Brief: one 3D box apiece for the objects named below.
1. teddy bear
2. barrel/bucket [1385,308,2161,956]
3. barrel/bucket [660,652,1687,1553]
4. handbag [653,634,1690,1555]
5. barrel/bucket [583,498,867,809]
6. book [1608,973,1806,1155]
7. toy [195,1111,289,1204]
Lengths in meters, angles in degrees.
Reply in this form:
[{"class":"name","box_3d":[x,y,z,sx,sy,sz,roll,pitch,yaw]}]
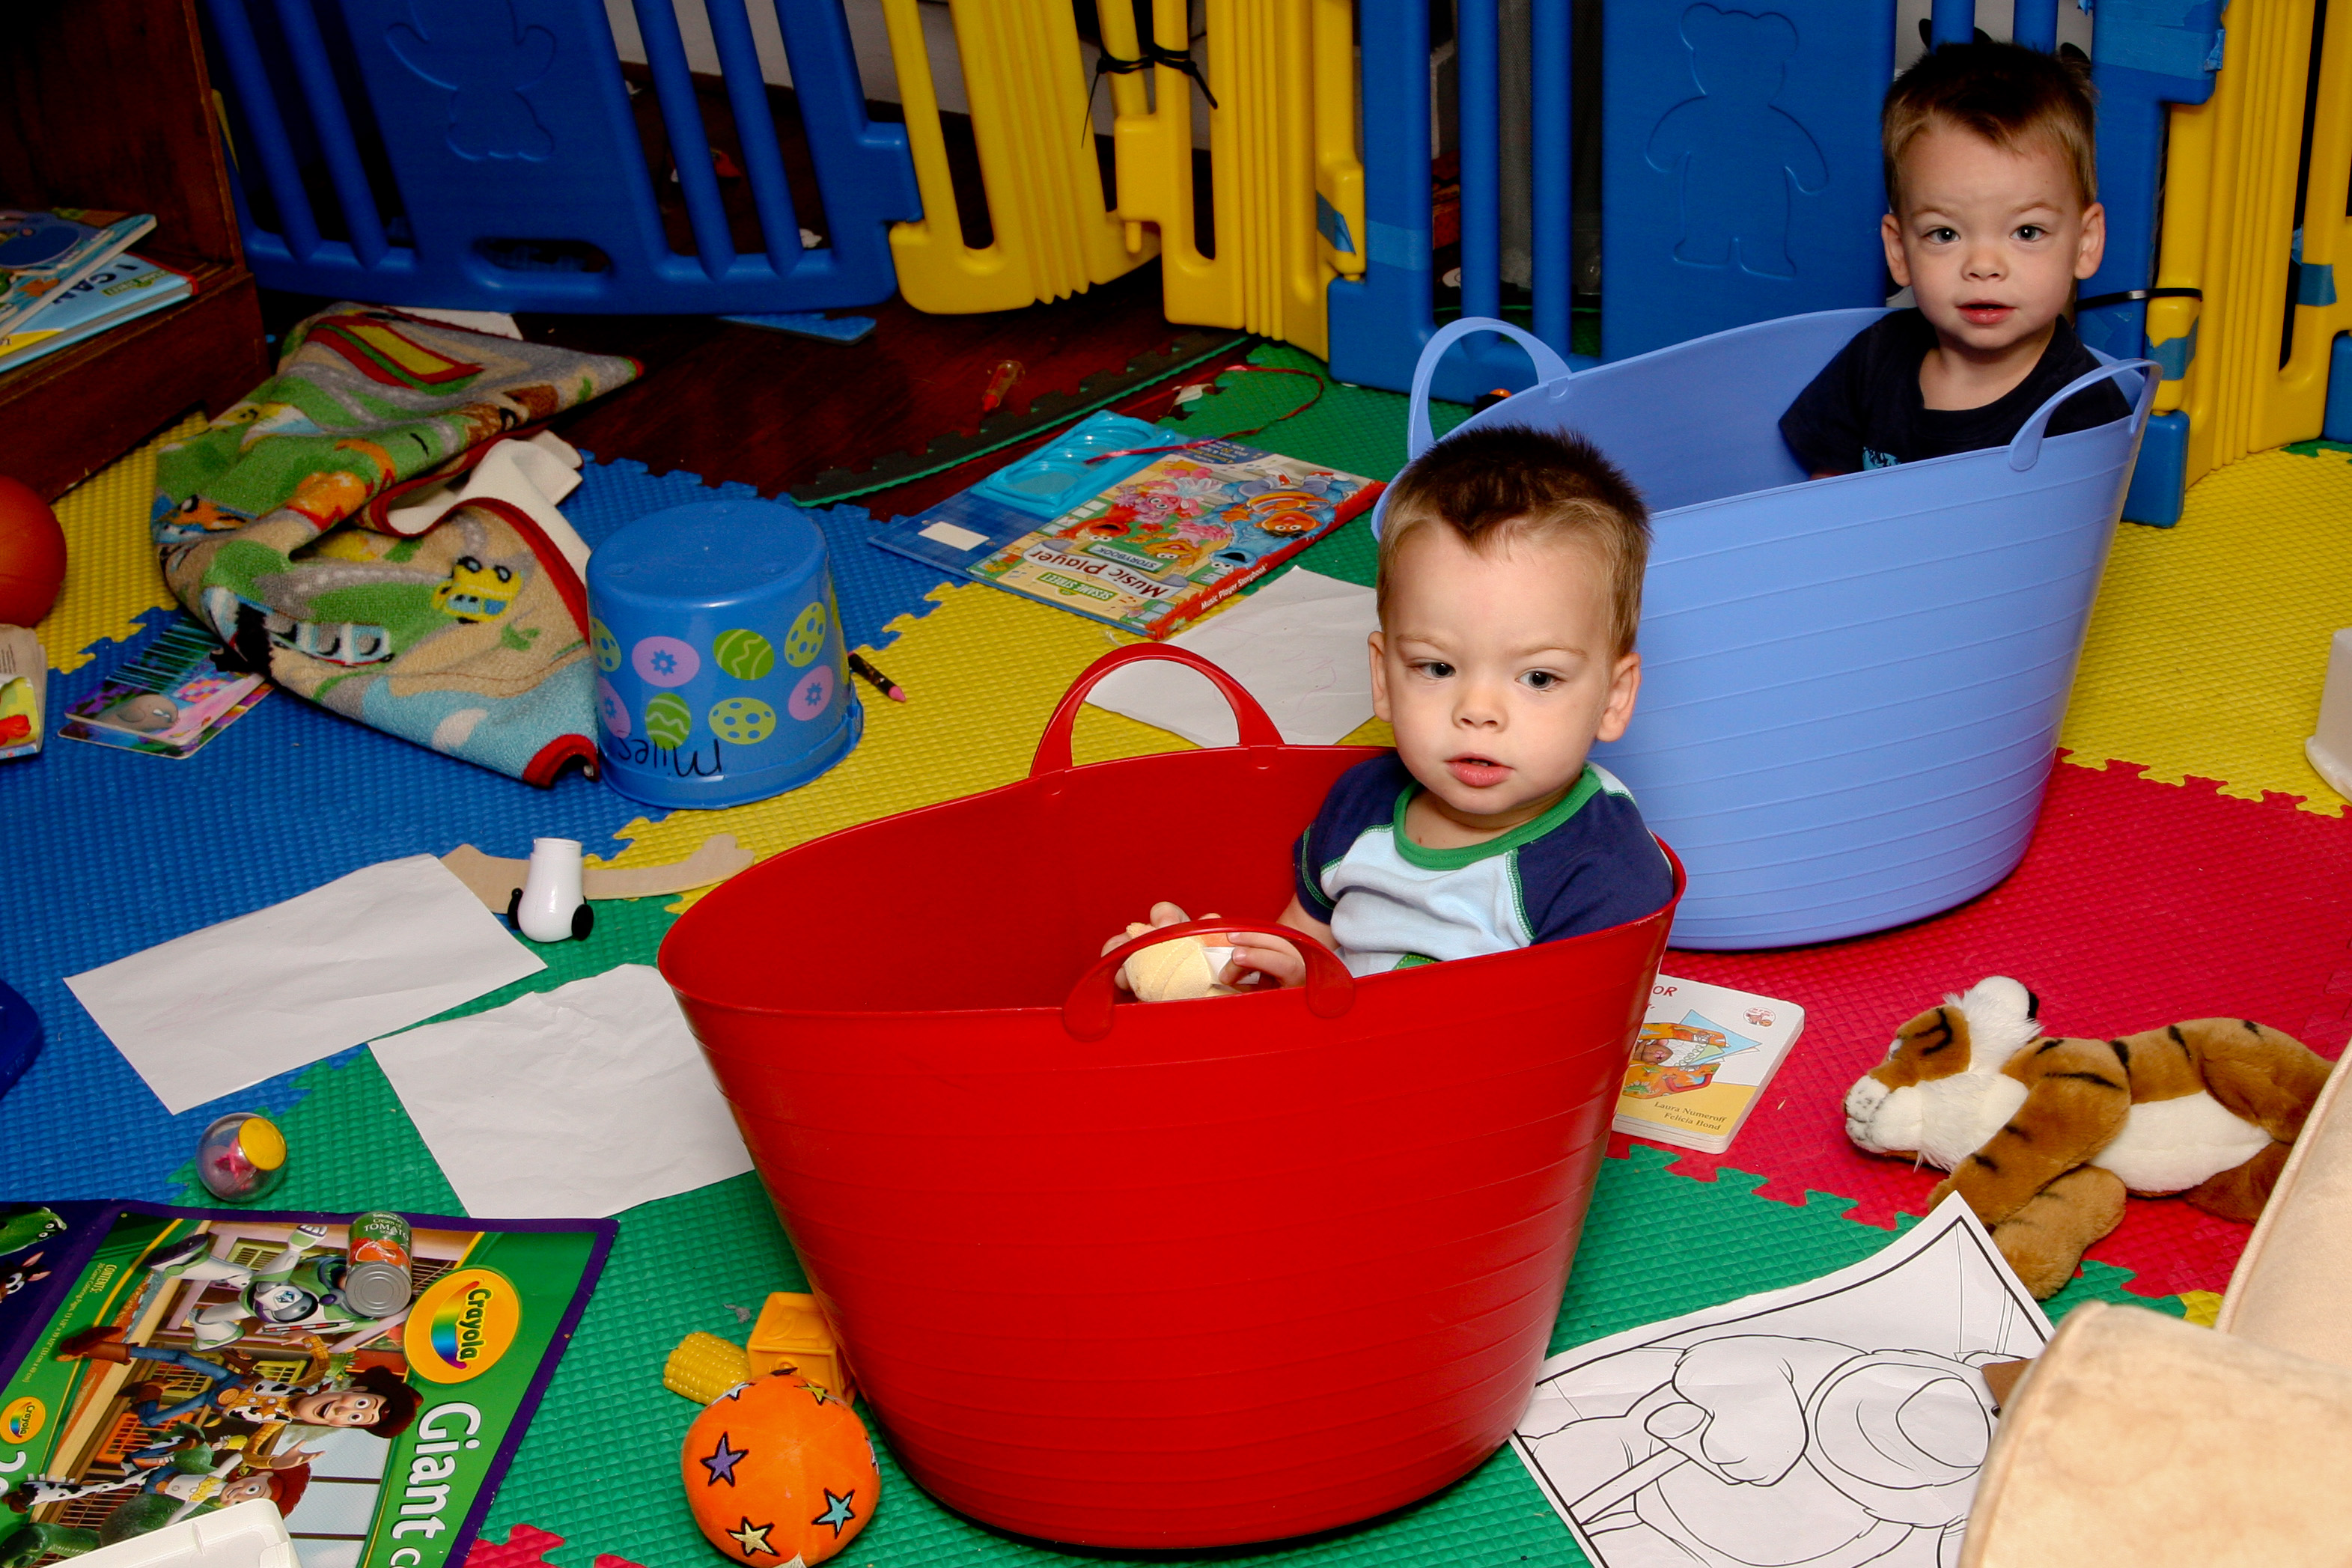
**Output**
[{"class":"teddy bear","box_3d":[0.670,0.236,1.275,0.263,0.118,0.216,-17,36,-19]},{"class":"barrel/bucket","box_3d":[0.566,-0.094,1.589,0.680,0.461,0.594,-21,22,-17]},{"class":"barrel/bucket","box_3d":[-0.016,0.208,1.136,0.492,0.454,0.449,-3,35,2]},{"class":"handbag","box_3d":[-0.032,0.230,1.209,0.692,0.426,0.594,-3,15,8]},{"class":"barrel/bucket","box_3d":[-0.454,-0.135,1.842,0.304,0.224,0.286,-4,26,2]},{"class":"book","box_3d":[0.424,0.230,1.403,0.155,0.022,0.165,15,44,27]},{"class":"toy","box_3d":[-0.741,0.294,1.355,0.067,0.064,0.041,7,-9,-12]}]
